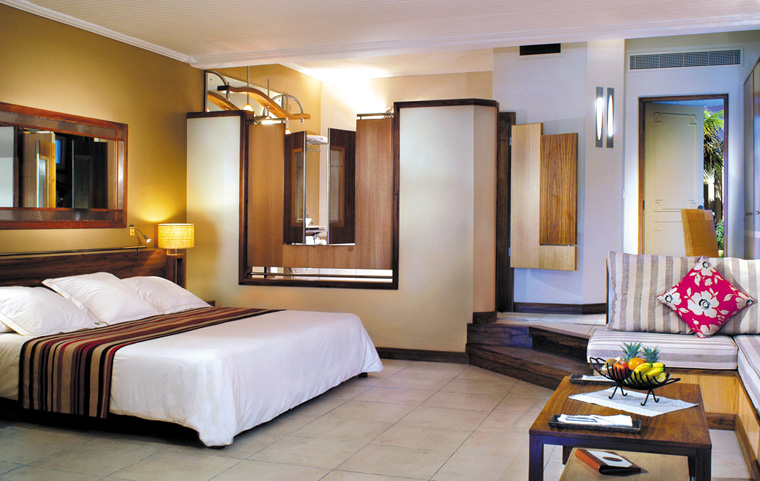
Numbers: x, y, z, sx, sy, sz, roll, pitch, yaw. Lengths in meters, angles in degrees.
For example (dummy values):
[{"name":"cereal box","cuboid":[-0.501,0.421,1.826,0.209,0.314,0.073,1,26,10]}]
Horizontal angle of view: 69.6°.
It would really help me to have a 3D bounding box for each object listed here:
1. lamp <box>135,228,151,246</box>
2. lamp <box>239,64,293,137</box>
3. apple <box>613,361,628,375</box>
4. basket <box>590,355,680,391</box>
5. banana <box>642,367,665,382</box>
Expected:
[{"name":"lamp","cuboid":[-2.934,-0.029,6.864,0.094,0.220,0.213,2,6,22]},{"name":"lamp","cuboid":[-1.592,-2.280,8.724,0.428,1.003,1.586,2,6,22]},{"name":"apple","cuboid":[1.599,0.855,3.653,0.074,0.065,0.072,2,-4,-22]},{"name":"basket","cuboid":[1.807,0.942,3.855,0.296,0.191,0.413,7,-8,-44]},{"name":"banana","cuboid":[1.782,0.874,3.582,0.132,0.036,0.076,2,-35,21]}]
